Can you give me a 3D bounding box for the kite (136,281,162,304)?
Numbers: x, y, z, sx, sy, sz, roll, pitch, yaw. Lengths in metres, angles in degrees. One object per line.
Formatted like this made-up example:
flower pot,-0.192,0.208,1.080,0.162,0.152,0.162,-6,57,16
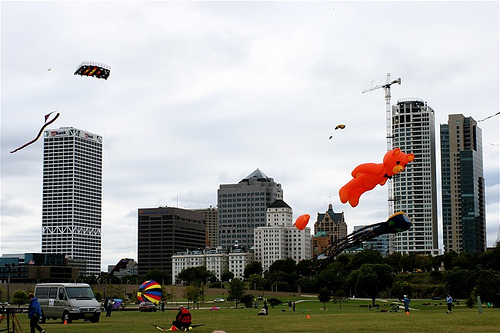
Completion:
kite,-29.981,36.814,333.907,4.400,6.913,5.957,8,-17,-37
